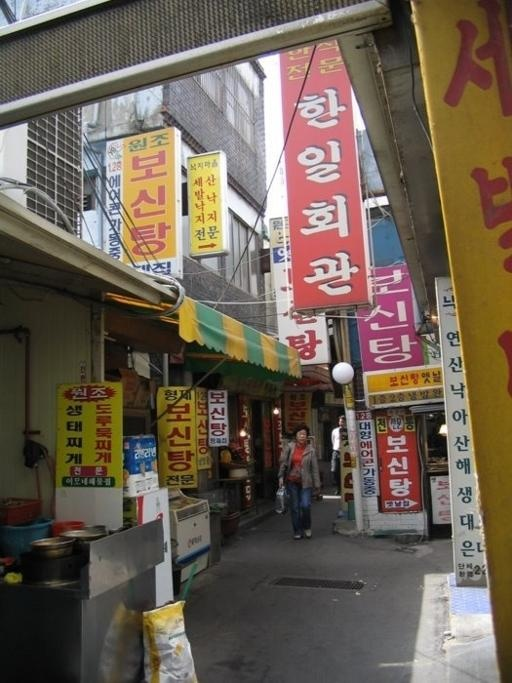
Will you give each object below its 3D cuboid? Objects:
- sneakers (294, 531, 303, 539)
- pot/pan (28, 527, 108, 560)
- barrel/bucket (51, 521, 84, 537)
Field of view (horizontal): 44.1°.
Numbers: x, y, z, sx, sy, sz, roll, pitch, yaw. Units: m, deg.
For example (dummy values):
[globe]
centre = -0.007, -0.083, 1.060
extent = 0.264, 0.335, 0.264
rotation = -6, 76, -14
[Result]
[sneakers]
centre = 0.635, 2.947, 9.633
extent = 0.128, 0.101, 0.279
rotation = -3, -8, 5
[pot/pan]
centre = -1.148, 1.237, 3.917
extent = 0.280, 0.066, 0.419
rotation = -8, -7, 21
[barrel/bucket]
centre = -1.304, 1.293, 4.409
extent = 0.180, 0.128, 0.155
rotation = 0, -1, -32
